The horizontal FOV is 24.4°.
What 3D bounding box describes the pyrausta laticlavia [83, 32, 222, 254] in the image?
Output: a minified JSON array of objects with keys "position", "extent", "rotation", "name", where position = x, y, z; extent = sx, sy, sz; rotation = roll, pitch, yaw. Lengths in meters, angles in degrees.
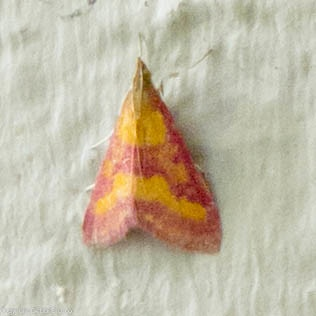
[{"position":[-0.056,0.041,1.356],"extent":[0.244,0.232,0.363],"rotation":[-16,69,-22],"name":"pyrausta laticlavia"}]
